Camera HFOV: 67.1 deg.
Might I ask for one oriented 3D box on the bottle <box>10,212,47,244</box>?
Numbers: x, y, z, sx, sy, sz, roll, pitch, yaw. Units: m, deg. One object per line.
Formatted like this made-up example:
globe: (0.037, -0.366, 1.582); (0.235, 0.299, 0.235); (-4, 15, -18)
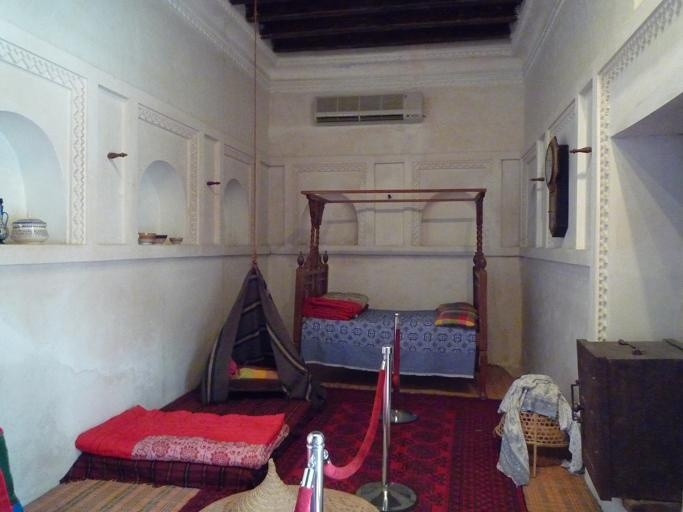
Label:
bottle: (-2.332, -0.191, 3.843); (0.251, 0.189, 0.229); (1, 6, 0)

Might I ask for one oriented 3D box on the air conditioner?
air conditioner: (0.370, -2.079, 7.264); (1.478, 0.424, 0.152); (2, 6, 11)

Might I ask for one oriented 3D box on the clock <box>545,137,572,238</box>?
clock: (2.151, -0.693, 5.140); (0.153, 0.970, 0.520); (2, 6, 12)

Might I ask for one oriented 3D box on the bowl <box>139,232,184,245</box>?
bowl: (-1.789, -0.176, 5.119); (0.144, 0.140, 0.676); (2, 7, 10)

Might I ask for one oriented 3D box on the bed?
bed: (0.738, 0.475, 6.583); (2.224, 2.485, 1.276); (0, 3, 8)
